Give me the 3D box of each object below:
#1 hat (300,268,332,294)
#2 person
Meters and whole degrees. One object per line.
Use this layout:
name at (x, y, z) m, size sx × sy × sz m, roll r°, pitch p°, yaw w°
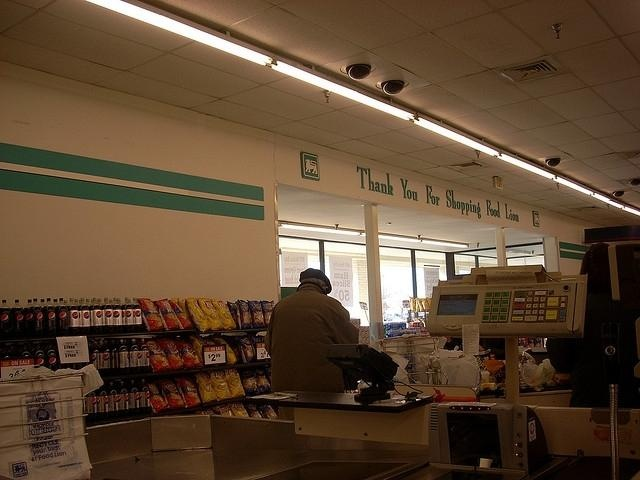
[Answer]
hat at (-0.018, 0.384, 4.608) m, size 0.212 × 0.137 × 0.306 m, roll 10°, pitch -16°, yaw 47°
person at (-0.106, 0.811, 4.226) m, size 0.847 × 1.054 × 0.610 m, roll -13°, pitch -2°, yaw -10°
